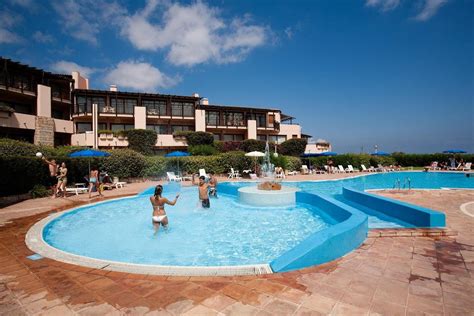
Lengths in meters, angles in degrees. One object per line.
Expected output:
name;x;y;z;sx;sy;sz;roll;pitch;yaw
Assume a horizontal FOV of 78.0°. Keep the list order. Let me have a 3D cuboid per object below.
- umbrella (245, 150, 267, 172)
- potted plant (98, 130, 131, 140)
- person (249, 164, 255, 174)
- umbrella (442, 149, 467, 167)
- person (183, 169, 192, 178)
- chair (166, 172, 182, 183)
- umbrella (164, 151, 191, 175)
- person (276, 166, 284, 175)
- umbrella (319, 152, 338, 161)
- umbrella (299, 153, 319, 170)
umbrella;2.138;0.332;31.848;2.165;2.219;2.133;-1;4;25
potted plant;-15.442;-2.972;36.479;3.305;1.124;0.464;-3;1;-25
person;1.797;1.243;32.774;0.675;0.854;0.400;1;-5;27
umbrella;28.506;0.181;37.959;2.251;2.210;2.266;1;-3;-12
person;-5.073;1.672;30.174;0.946;0.478;0.913;3;7;-16
chair;-6.224;1.862;28.371;0.960;0.719;1.372;1;-2;-39
umbrella;-5.818;0.345;29.039;2.713;2.626;2.585;-1;-1;-13
person;4.659;1.313;30.777;0.812;0.867;0.816;-2;-3;0
umbrella;11.681;-0.150;37.373;1.639;0.948;1.597;0;1;15
umbrella;9.337;0.457;37.646;2.256;2.175;2.191;-3;2;25
